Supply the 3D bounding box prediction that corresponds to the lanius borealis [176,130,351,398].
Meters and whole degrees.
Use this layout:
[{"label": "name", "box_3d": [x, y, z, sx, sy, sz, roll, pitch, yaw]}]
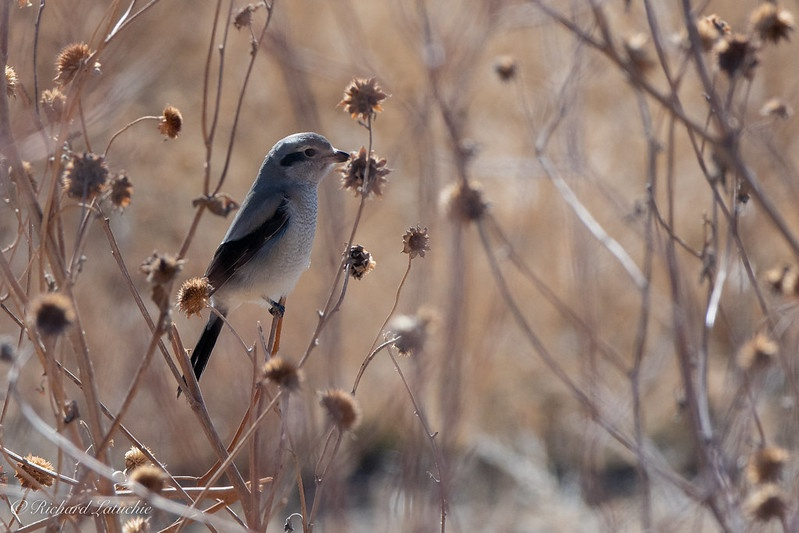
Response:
[{"label": "lanius borealis", "box_3d": [-0.789, -0.285, 8.166, 0.843, 1.118, 0.503, -1, -8, -5]}]
